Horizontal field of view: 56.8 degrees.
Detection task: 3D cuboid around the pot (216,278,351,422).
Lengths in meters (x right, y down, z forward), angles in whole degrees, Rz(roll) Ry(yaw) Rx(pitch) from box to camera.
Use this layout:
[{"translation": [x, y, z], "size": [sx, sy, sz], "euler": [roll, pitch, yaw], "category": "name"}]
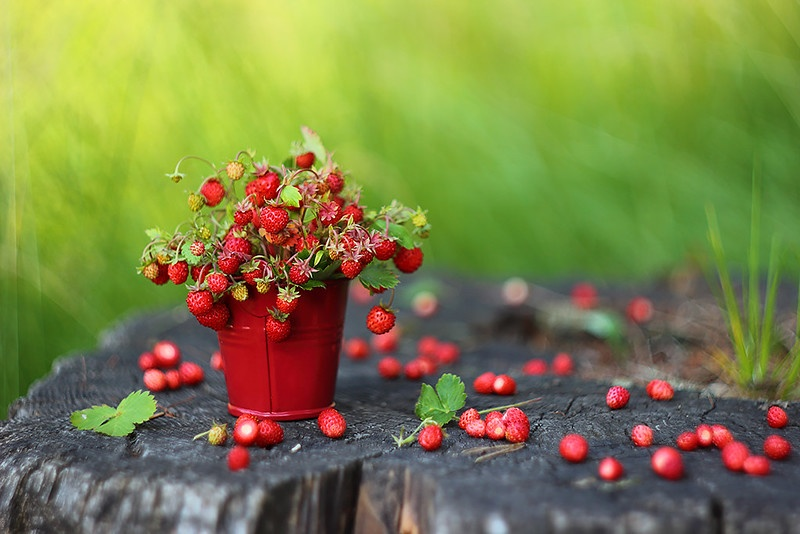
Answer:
[{"translation": [-0.266, 0.213, 1.796], "size": [0.270, 0.261, 0.308], "euler": [5, 13, 18], "category": "pot"}]
